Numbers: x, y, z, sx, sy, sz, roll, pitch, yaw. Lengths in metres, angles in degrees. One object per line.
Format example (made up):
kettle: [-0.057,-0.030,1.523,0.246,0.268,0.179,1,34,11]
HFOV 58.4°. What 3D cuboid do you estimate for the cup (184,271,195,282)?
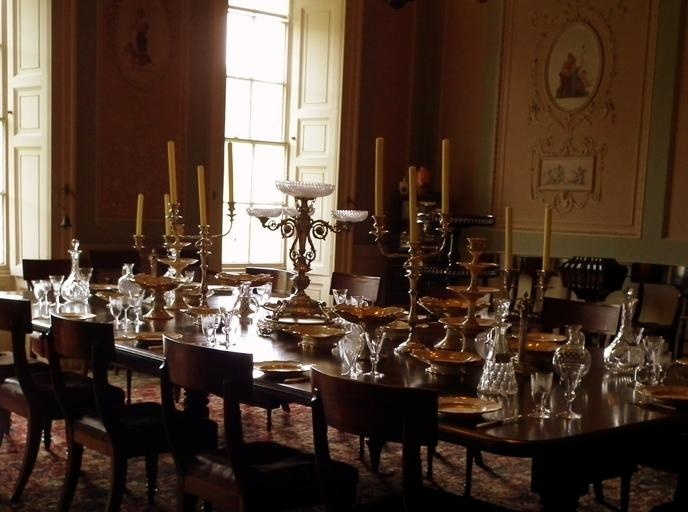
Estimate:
cup: [-1.108,0.138,4.408,0.075,0.101,0.070,0,-9,0]

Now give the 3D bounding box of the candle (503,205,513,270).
candle: [0.729,-0.080,2.729,0.024,0.280,0.284,3,2,13]
